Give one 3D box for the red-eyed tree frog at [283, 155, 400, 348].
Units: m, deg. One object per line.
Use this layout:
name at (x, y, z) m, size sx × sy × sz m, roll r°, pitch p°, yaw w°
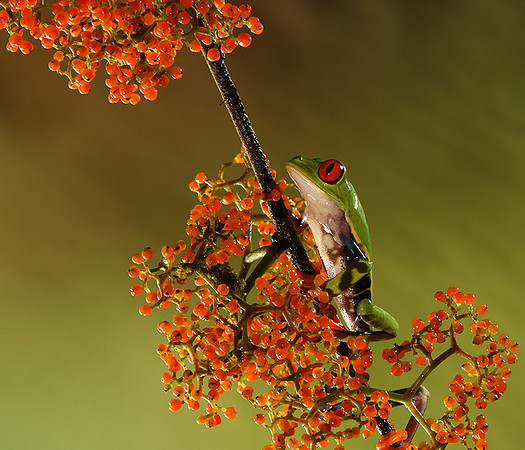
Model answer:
red-eyed tree frog at (0.221, 0.049, 1.835) m, size 0.169 × 0.331 × 0.456 m, roll -32°, pitch -72°, yaw -8°
